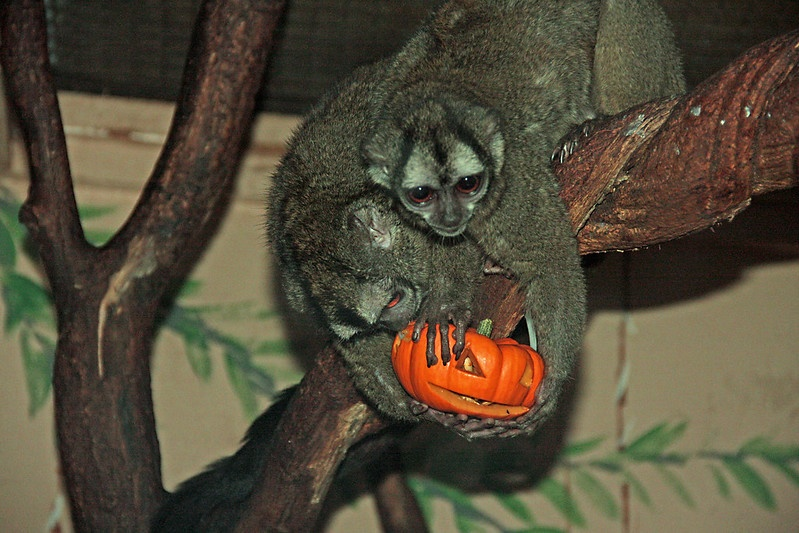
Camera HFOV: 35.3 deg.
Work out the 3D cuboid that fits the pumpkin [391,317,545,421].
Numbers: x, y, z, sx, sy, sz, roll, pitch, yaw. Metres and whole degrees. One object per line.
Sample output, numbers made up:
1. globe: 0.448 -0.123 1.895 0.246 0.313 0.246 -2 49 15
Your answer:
1. pumpkin: 0.373 0.613 7.730 0.852 0.532 0.971 1 18 -10
